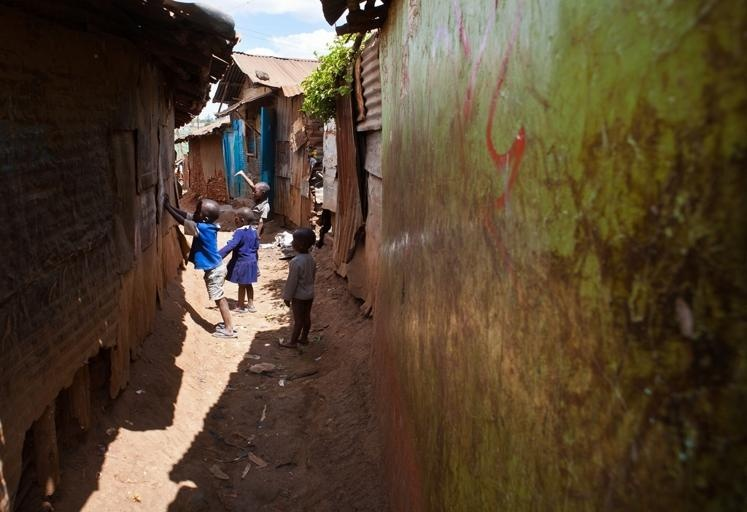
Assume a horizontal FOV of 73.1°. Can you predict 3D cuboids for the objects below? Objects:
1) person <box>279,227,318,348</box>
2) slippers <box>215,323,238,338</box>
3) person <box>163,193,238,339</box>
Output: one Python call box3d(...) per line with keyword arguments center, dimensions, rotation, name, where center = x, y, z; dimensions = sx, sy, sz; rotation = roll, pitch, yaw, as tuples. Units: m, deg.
box3d(center=(-1.042, 0.396, 7.048), dimensions=(0.414, 1.658, 0.882), rotation=(3, 16, -5), name="person")
box3d(center=(-2.050, 1.042, 6.997), dimensions=(0.289, 0.130, 0.149), rotation=(10, 1, -2), name="slippers")
box3d(center=(-2.322, 0.153, 6.975), dimensions=(0.772, 1.867, 1.063), rotation=(-11, 23, -43), name="person")
